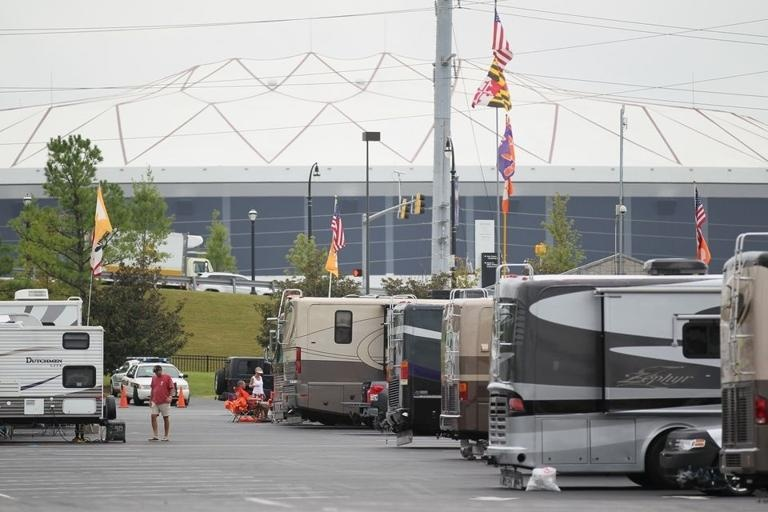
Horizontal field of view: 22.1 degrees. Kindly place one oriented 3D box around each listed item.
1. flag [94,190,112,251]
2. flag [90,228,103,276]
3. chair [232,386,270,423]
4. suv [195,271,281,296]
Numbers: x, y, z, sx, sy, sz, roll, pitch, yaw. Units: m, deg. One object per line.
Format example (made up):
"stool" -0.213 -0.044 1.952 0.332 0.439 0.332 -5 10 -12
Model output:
"flag" -14.745 -2.019 103.158 0.948 3.707 0.438 -9 -31 2
"flag" -14.868 -0.143 102.017 0.496 2.169 1.987 1 -6 -10
"chair" -6.501 7.194 95.765 1.746 1.235 1.530 -1 2 -22
"suv" -10.462 1.904 137.021 6.098 1.687 3.247 4 -7 -36
